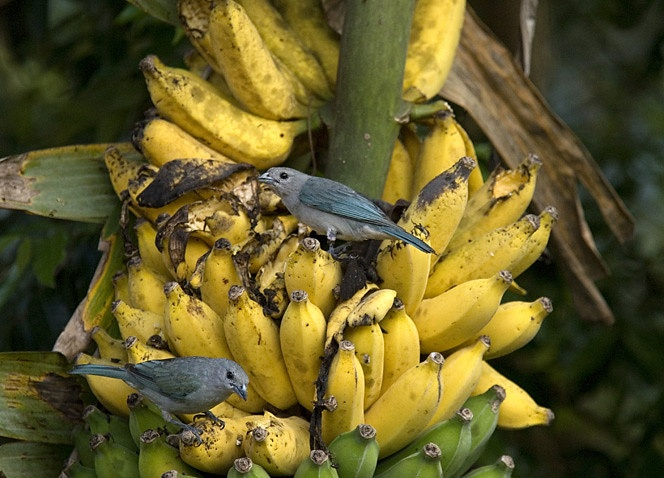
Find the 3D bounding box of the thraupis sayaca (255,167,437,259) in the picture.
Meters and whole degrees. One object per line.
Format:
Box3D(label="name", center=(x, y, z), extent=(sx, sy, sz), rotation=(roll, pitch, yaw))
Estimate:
Box3D(label="thraupis sayaca", center=(0.061, -0.121, 3.764), extent=(0.802, 0.449, 0.235), rotation=(0, -10, 4))
